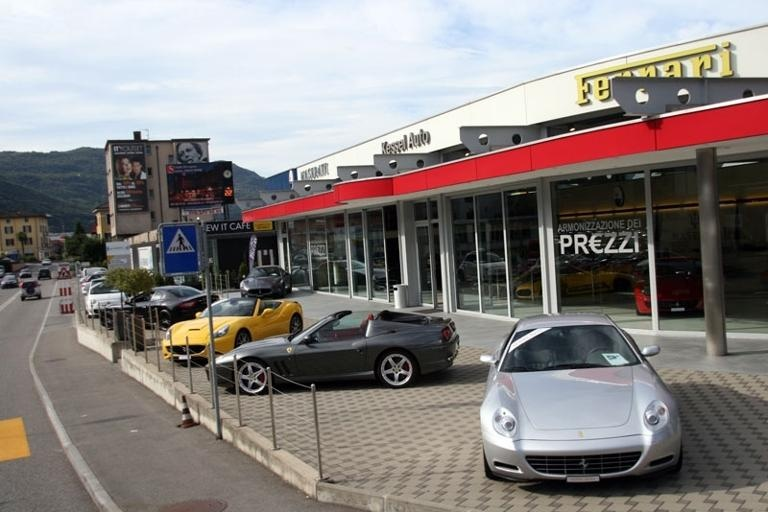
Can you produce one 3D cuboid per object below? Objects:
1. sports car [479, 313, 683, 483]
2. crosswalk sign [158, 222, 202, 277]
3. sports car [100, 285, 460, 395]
[{"bbox_3d":[2.715,1.994,8.201,1.771,0.992,3.374,-4,-2,10],"label":"sports car"},{"bbox_3d":[-3.849,-0.134,11.166,0.887,1.017,0.087,-3,0,15],"label":"crosswalk sign"},{"bbox_3d":[-1.744,2.073,13.339,6.187,1.491,2.942,1,-2,5],"label":"sports car"}]
